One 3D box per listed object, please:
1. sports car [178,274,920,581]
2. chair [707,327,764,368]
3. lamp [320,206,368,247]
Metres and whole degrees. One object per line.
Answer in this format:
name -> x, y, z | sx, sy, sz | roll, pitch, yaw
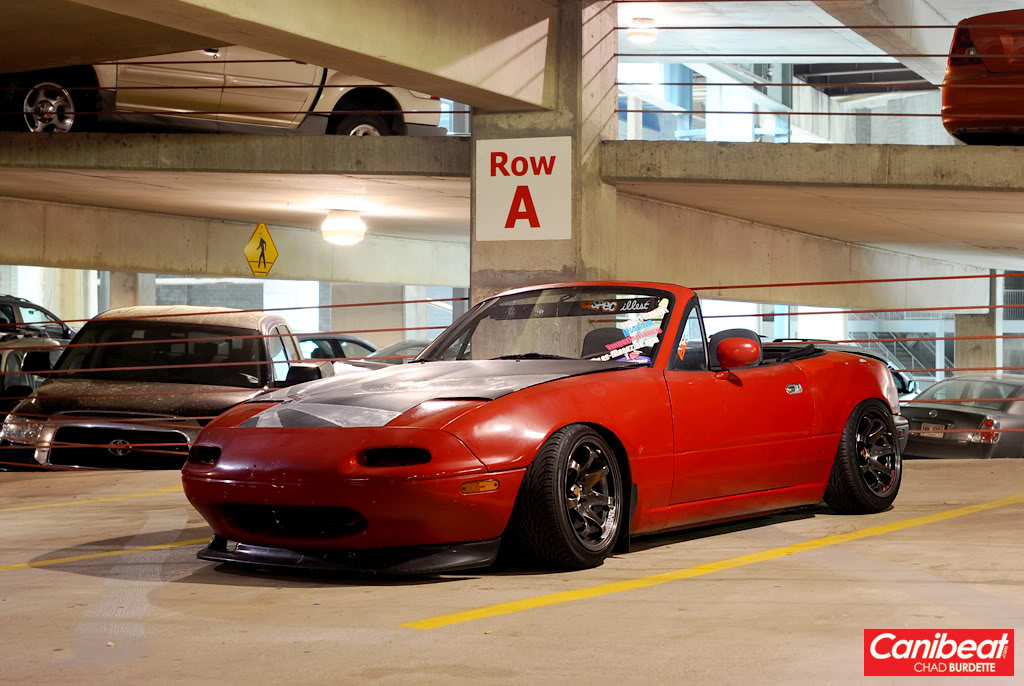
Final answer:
sports car -> 0.468, 0.464, 5.516 | 4.405, 0.999, 2.206 | 3, -6, -41
chair -> 1.602, 0.037, 5.594 | 0.495, 0.249, 0.368 | -2, 2, -8
lamp -> -3.483, -2.392, 17.177 | 1.048, 0.640, 0.920 | 3, 5, 26
